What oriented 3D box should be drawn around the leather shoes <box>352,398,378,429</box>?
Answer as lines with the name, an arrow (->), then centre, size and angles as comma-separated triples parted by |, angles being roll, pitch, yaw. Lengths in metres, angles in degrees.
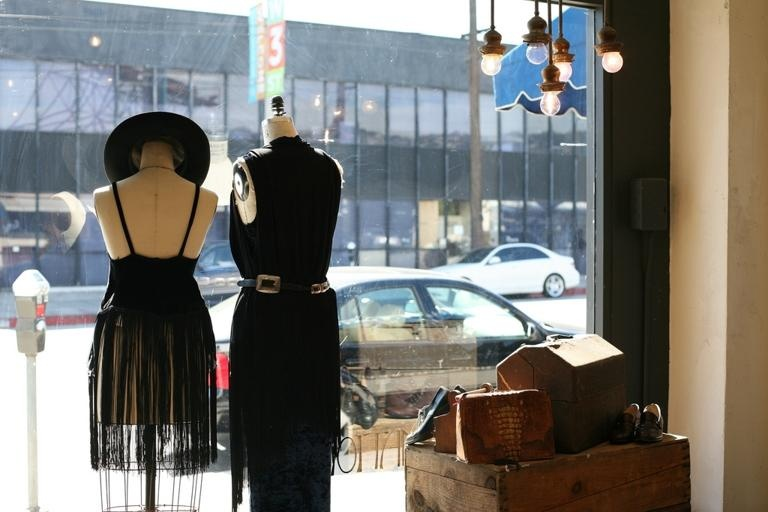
leather shoes -> -0.111, 0.952, 9.088 | 0.125, 0.181, 0.078 | 8, 8, -4

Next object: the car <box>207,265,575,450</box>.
car -> 0.048, 0.555, 9.403 | 2.179, 0.732, 0.929 | -4, 2, -25

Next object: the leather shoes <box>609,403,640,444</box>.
leather shoes -> 1.374, 0.949, 8.600 | 0.128, 0.115, 0.384 | 6, 19, 19

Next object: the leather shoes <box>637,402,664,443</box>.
leather shoes -> 1.526, 0.953, 8.627 | 0.146, 0.141, 0.384 | 4, 10, 15

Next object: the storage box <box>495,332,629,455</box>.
storage box -> 1.035, 0.780, 8.754 | 0.513, 0.659, 0.720 | 1, 5, 30

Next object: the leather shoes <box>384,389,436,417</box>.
leather shoes -> 0.133, 0.901, 9.197 | 0.368, 0.148, 0.132 | 2, -5, -26
